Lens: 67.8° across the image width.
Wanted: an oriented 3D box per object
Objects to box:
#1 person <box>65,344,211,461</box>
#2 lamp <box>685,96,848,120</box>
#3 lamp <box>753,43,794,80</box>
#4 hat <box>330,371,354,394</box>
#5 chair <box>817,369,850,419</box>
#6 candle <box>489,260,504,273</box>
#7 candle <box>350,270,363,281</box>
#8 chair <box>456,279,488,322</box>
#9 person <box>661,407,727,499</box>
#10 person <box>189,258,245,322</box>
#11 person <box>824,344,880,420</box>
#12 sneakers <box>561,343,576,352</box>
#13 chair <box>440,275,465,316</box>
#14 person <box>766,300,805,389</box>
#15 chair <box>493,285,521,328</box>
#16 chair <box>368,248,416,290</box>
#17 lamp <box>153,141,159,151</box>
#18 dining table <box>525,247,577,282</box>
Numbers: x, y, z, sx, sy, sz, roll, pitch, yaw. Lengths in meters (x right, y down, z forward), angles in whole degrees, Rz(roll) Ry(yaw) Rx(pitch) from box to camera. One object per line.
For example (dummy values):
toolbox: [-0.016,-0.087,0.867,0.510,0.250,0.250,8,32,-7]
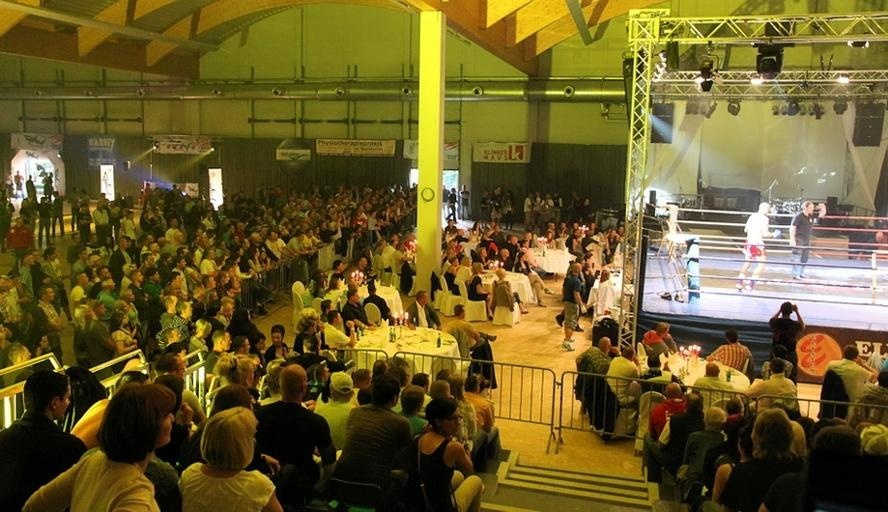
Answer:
person: [-4.141,1.775,8.406,1.038,1.774,1.261,-3,-6,32]
lamp: [11.160,-5.110,22.768,5.078,0.657,0.935,3,5,16]
lamp: [7.853,-4.756,15.931,0.544,0.756,0.665,4,5,20]
hat: [-1.411,1.708,9.063,0.230,0.157,0.319,0,20,-9]
chair: [6.919,2.470,11.658,0.442,0.838,0.854,5,5,31]
candle: [1.480,0.255,18.261,0.325,0.544,0.226,-17,17,-39]
candle: [-2.122,0.482,16.085,0.255,0.319,0.245,1,12,5]
chair: [0.694,1.124,16.470,0.725,0.978,0.690,-17,32,-33]
person: [3.885,2.608,9.909,0.796,0.473,1.379,-22,17,32]
person: [-4.862,0.734,14.086,0.574,1.750,0.496,-1,28,-35]
person: [7.402,2.533,12.133,0.772,1.753,0.624,15,20,41]
sneakers: [2.896,2.106,15.382,0.387,0.167,0.141,6,17,-45]
chair: [0.217,0.924,17.306,0.633,0.822,0.603,-4,13,-22]
person: [7.205,1.951,13.967,0.685,2.045,0.646,10,24,39]
chair: [1.591,1.161,16.796,0.749,0.983,0.710,0,5,22]
chair: [-1.329,0.268,19.221,1.195,1.382,1.229,11,19,27]
lamp: [-13.485,-5.195,31.043,0.349,0.439,0.180,-7,-2,24]
dining table: [3.229,0.111,20.346,1.208,0.543,1.125,1,14,2]
